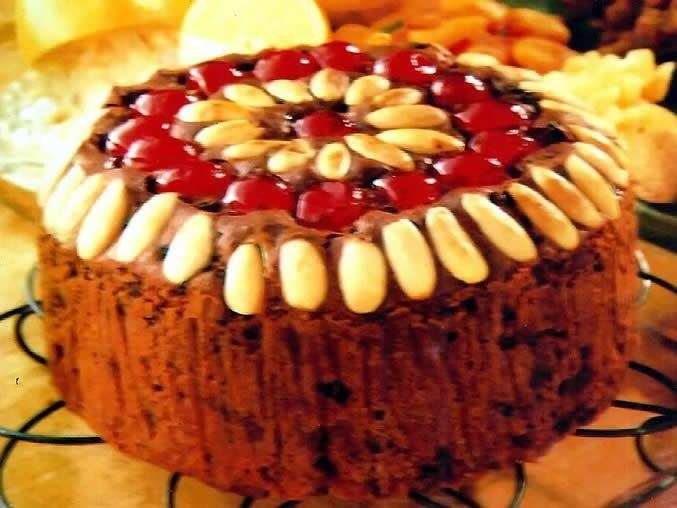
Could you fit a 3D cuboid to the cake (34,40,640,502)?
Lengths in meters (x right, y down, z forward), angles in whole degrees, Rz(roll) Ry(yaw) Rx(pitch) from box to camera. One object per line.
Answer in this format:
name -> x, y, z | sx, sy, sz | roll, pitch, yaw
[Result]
cake -> 0.004, 0.002, 0.943 | 0.632, 0.318, 0.528 | 7, 40, 15
